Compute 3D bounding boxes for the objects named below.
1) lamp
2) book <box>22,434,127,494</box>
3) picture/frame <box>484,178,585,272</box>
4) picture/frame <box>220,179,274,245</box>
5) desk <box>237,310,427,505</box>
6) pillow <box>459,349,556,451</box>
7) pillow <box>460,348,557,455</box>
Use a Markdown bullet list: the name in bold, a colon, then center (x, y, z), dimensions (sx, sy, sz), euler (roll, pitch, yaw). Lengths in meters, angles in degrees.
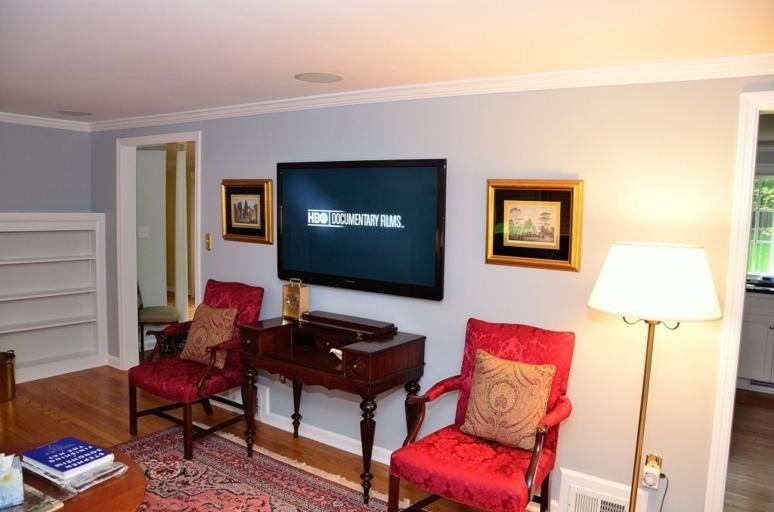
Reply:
- **lamp**: center (1.632, 0.835, 3.426), dimensions (0.726, 1.864, 0.464), euler (4, 13, 12)
- **book**: center (-1.906, 1.246, 3.258), dimensions (0.340, 0.067, 0.334), euler (10, 6, 30)
- **picture/frame**: center (1.101, -0.236, 3.827), dimensions (0.711, 0.636, 0.075), euler (3, 4, 25)
- **picture/frame**: center (-1.337, -0.441, 5.078), dimensions (0.654, 0.553, 0.051), euler (5, 7, 35)
- **desk**: center (-0.490, 1.170, 4.432), dimensions (1.390, 1.173, 0.798), euler (4, 4, 35)
- **pillow**: center (0.843, 0.990, 3.570), dimensions (0.646, 0.534, 0.337), euler (8, 16, 34)
- **pillow**: center (0.846, 1.006, 3.563), dimensions (0.701, 0.578, 0.366), euler (8, 16, 34)
